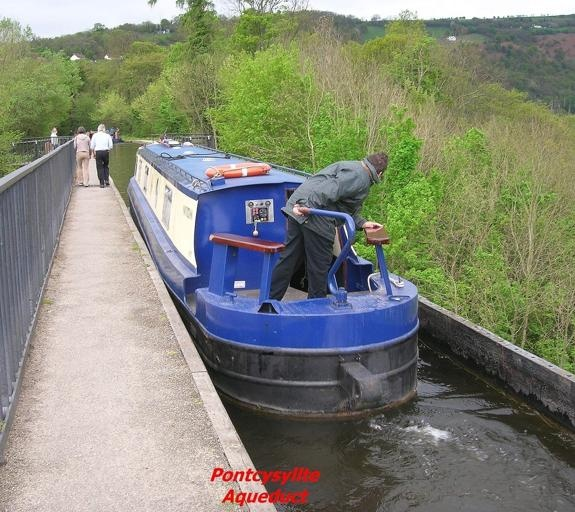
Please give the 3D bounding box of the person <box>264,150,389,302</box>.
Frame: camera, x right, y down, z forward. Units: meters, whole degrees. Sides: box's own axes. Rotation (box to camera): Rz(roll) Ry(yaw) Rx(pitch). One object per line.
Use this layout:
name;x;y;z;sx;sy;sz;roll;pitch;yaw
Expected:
person;0.416;-0.282;5.733;0.992;1.755;0.628;3;11;-17

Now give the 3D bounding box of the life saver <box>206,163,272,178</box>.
life saver;-0.619;-1.071;6.666;0.575;0.152;0.364;-8;15;-22

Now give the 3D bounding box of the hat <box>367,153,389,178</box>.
hat;0.989;-1.007;5.824;0.183;0.244;0.239;3;17;4
